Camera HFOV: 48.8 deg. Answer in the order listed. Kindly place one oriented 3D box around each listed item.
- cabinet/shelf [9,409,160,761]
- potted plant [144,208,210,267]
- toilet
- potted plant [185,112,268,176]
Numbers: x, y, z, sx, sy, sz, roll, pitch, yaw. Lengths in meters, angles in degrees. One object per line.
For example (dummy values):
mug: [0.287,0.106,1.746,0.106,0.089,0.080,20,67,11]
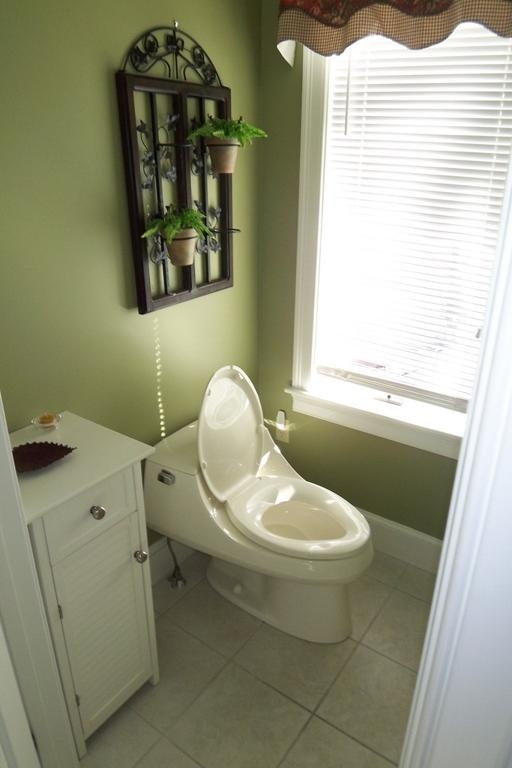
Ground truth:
cabinet/shelf: [-0.473,0.577,1.516,0.304,0.876,0.386,11,24,31]
potted plant: [-0.246,-0.452,1.759,0.210,0.165,0.216,-2,12,23]
toilet: [0.054,0.397,1.957,0.704,0.850,0.490,15,27,27]
potted plant: [-0.099,-0.780,1.835,0.243,0.169,0.149,-13,23,-25]
